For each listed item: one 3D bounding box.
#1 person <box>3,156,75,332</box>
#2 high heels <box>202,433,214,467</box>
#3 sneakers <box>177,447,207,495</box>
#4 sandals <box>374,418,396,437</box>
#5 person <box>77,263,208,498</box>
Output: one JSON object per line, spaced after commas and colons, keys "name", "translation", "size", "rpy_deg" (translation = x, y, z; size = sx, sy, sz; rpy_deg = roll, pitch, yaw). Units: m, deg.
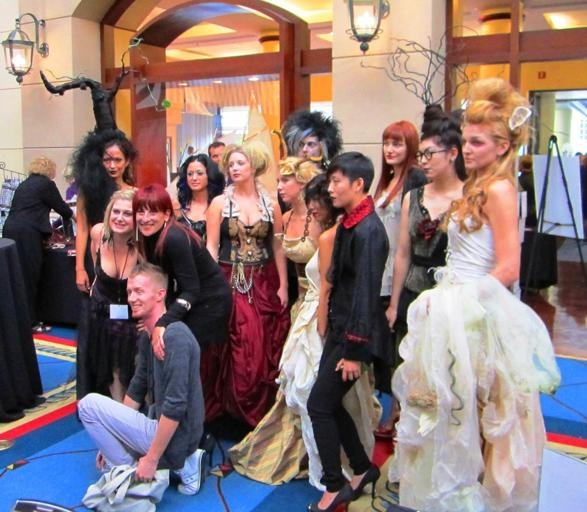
{"name": "person", "translation": [-2.601, -0.172, 5.335], "size": [0.626, 1.646, 0.268], "rpy_deg": [-3, 7, -31]}
{"name": "high heels", "translation": [-0.473, 1.073, 2.938], "size": [0.080, 0.126, 0.113], "rpy_deg": [-4, 40, 3]}
{"name": "sneakers", "translation": [-0.510, 1.083, 2.645], "size": [0.112, 0.275, 0.086], "rpy_deg": [-7, 17, -42]}
{"name": "sandals", "translation": [0.557, 1.052, 3.188], "size": [0.133, 0.046, 0.101], "rpy_deg": [-26, 20, 0]}
{"name": "person", "translation": [-0.745, 0.614, 2.594], "size": [0.542, 1.144, 0.391], "rpy_deg": [3, 6, 18]}
